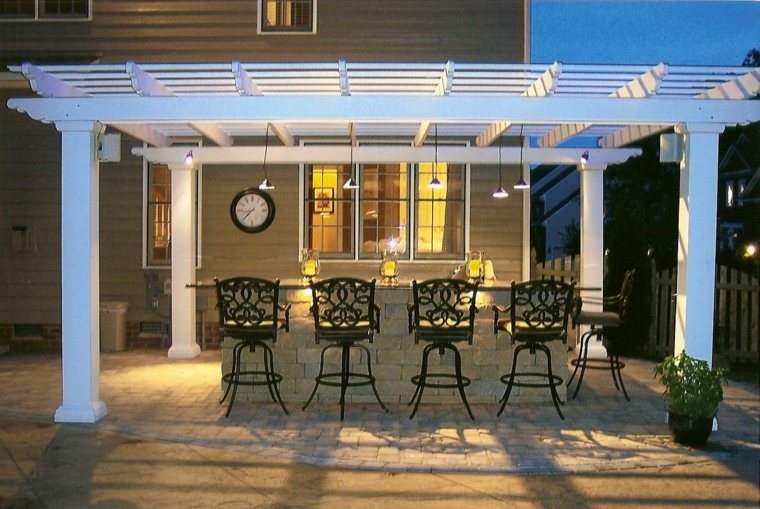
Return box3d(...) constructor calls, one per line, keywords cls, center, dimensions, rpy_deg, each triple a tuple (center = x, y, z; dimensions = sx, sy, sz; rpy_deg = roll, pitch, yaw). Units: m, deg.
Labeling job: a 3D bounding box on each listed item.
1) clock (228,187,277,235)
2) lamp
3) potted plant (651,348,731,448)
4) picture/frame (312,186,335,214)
box3d(cls="clock", center=(-2.219, -0.729, 18.543), dimensions=(0.700, 0.792, 0.754), rpy_deg=(1, 1, -3))
box3d(cls="lamp", center=(0.375, -1.562, 18.236), dimensions=(4.688, 0.898, 2.453), rpy_deg=(-1, -1, -3))
box3d(cls="potted plant", center=(4.273, 2.004, 15.041), dimensions=(1.072, 1.590, 1.188), rpy_deg=(-3, -5, 36))
box3d(cls="picture/frame", center=(-1.035, -0.974, 19.794), dimensions=(0.409, 0.491, 0.447), rpy_deg=(0, 1, 3))
